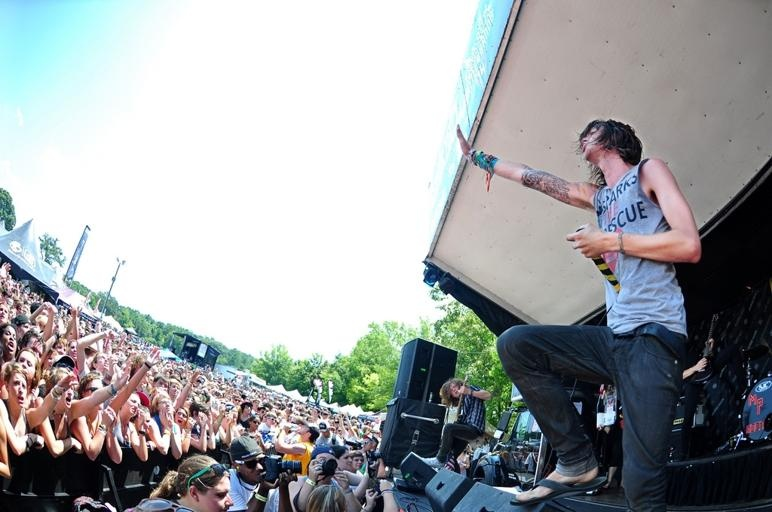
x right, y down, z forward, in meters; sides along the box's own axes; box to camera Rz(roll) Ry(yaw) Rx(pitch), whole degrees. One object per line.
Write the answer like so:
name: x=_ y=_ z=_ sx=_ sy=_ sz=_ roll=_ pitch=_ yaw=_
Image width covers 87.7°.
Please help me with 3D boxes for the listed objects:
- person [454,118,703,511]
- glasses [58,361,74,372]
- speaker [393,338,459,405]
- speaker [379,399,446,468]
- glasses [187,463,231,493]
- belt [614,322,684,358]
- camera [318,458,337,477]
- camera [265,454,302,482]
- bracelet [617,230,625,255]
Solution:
person: x=0.988 y=0.425 z=2.334 sx=1.026 sy=2.351 sz=1.119 roll=-2 pitch=9 yaw=21
glasses: x=-3.315 y=1.144 z=4.155 sx=0.126 sy=0.090 sz=0.127 roll=15 pitch=5 yaw=42
speaker: x=0.522 y=2.056 z=7.141 sx=0.650 sy=0.941 sz=0.643 roll=14 pitch=-24 yaw=-2
speaker: x=0.423 y=2.988 z=6.744 sx=0.960 sy=0.842 sz=0.765 roll=16 pitch=-19 yaw=-16
glasses: x=-1.319 y=1.617 z=2.953 sx=0.188 sy=0.055 sz=0.153 roll=-23 pitch=-9 yaw=-8
belt: x=1.343 y=0.417 z=2.069 sx=0.242 sy=0.153 sz=0.219 roll=0 pitch=1 yaw=9
camera: x=-0.494 y=1.802 z=3.418 sx=0.129 sy=0.146 sz=0.096 roll=9 pitch=-27 yaw=4
camera: x=-0.856 y=1.750 z=3.343 sx=0.253 sy=0.138 sz=0.233 roll=2 pitch=-10 yaw=-5
bracelet: x=1.235 y=-0.071 z=2.112 sx=0.027 sy=0.112 sz=0.077 roll=-6 pitch=-31 yaw=31
